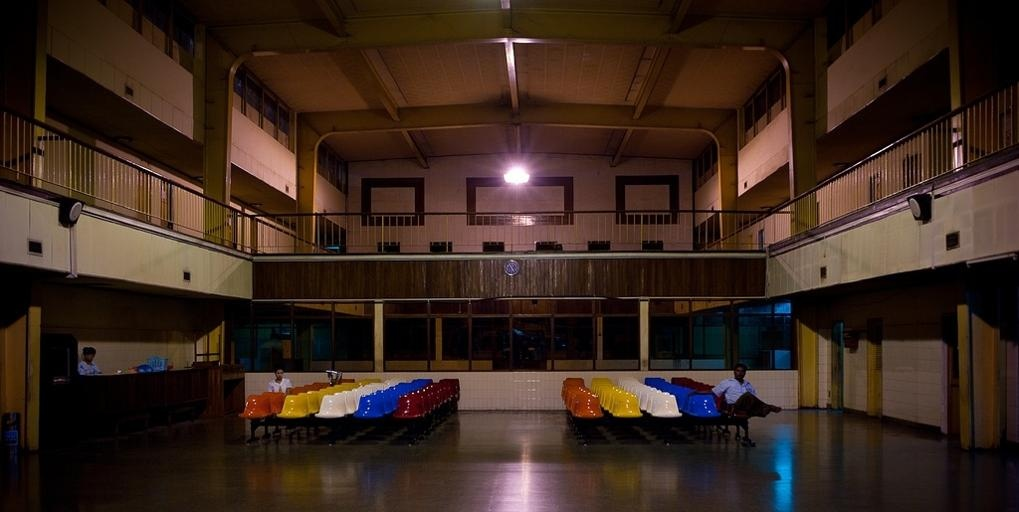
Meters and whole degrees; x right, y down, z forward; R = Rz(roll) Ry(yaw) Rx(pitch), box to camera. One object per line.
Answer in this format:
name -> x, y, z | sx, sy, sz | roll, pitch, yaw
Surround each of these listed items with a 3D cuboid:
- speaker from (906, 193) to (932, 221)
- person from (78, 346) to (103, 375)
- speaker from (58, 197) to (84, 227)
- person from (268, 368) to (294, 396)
speaker -> 12.225, -1.498, 24.198 | 0.499, 0.800, 0.858 | 1, -5, -2
person -> -13.697, 3.497, 26.528 | 0.856, 1.070, 1.202 | -3, -4, -12
speaker -> -13.154, -1.328, 24.411 | 0.694, 0.866, 0.416 | 9, -17, -33
person -> -8.004, 4.459, 28.543 | 1.004, 1.094, 0.771 | 2, -13, -28
